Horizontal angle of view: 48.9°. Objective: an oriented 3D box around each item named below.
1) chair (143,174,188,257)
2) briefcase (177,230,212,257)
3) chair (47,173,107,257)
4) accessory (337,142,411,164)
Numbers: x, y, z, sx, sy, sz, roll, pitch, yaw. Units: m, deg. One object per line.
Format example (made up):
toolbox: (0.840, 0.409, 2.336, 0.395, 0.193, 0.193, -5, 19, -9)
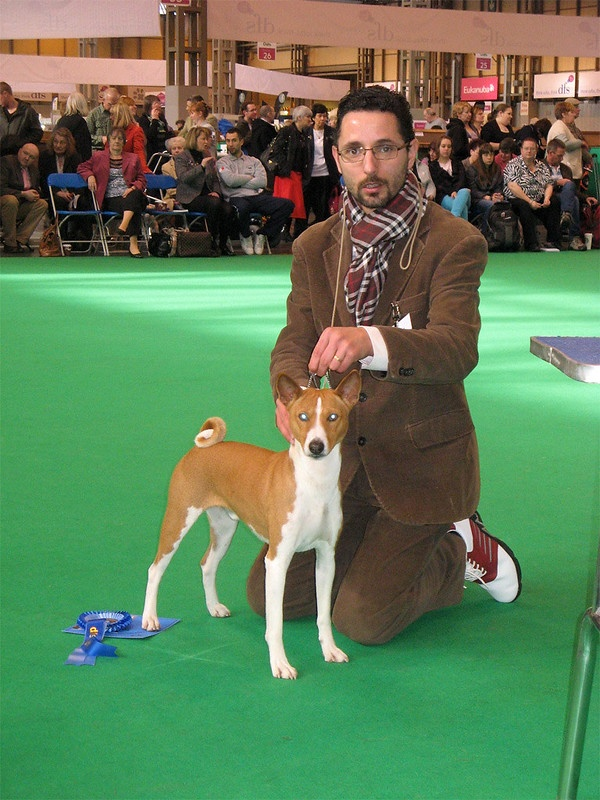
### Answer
chair: (-2.709, -3.714, 13.309, 0.860, 1.687, 1.522, 0, 1, -13)
briefcase: (-2.123, -3.064, 13.163, 0.888, 0.561, 0.476, 0, 12, -12)
chair: (-4.254, -3.515, 12.751, 1.066, 1.363, 1.729, 0, 1, -14)
accessory: (0.207, -0.695, 1.859, 0.184, 0.054, 0.066, 1, 1, 6)
